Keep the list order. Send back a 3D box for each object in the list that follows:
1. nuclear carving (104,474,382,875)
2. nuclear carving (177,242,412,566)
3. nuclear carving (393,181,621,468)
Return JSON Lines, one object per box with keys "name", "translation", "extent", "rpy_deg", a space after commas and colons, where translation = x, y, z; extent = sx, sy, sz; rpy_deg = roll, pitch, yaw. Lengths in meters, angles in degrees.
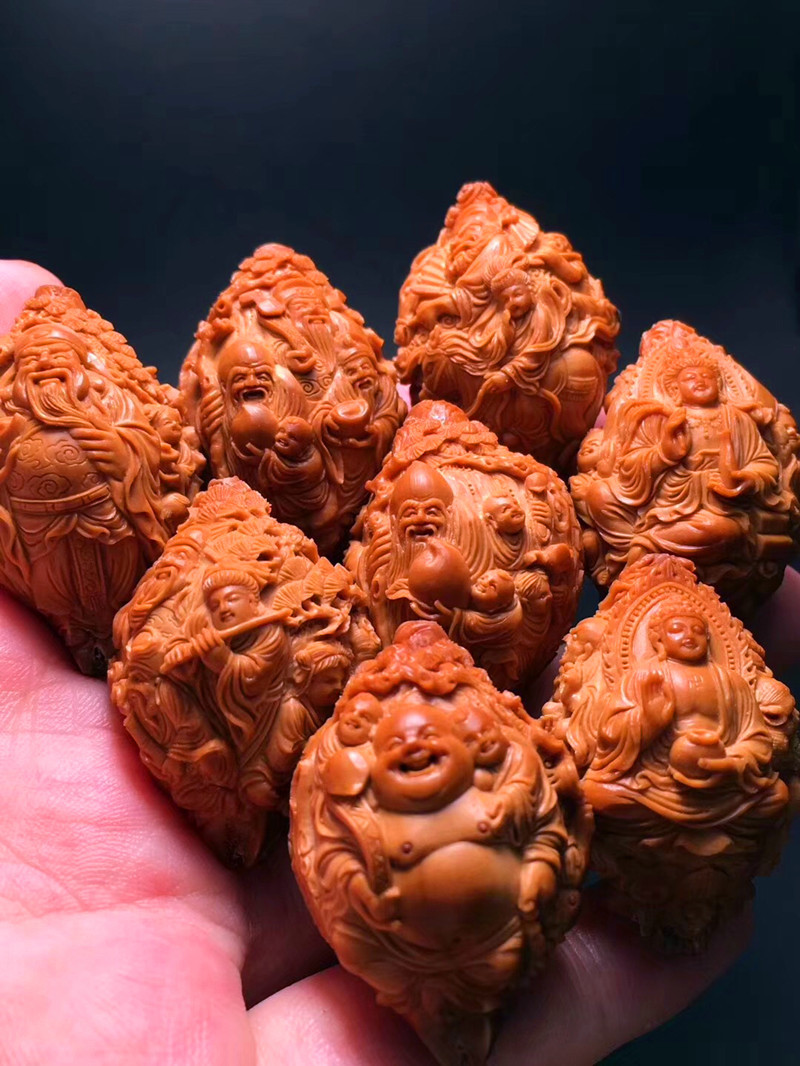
{"name": "nuclear carving", "translation": [-0.298, 0.230, 2.130], "extent": [0.525, 0.535, 0.191], "rpy_deg": [-2, 1, 1]}
{"name": "nuclear carving", "translation": [-0.260, -0.288, 2.779], "extent": [0.594, 0.617, 0.486], "rpy_deg": [-4, 25, -8]}
{"name": "nuclear carving", "translation": [0.208, -0.419, 2.852], "extent": [0.587, 0.640, 0.448], "rpy_deg": [-3, 24, 0]}
